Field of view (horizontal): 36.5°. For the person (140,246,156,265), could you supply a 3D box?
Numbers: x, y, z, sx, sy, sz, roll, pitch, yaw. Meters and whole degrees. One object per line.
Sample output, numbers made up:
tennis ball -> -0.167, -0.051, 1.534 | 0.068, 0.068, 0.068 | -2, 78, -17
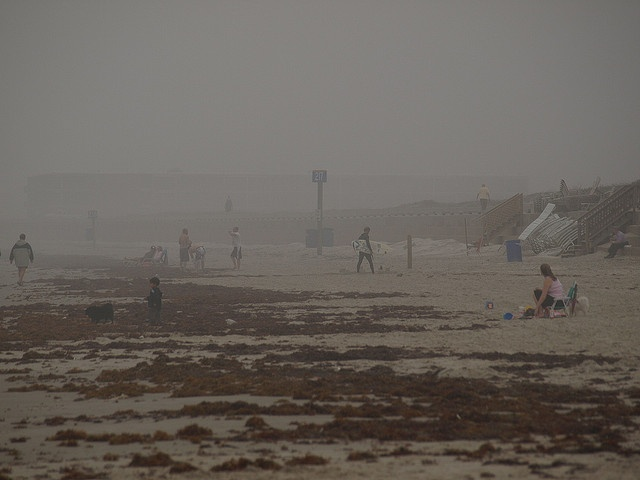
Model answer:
person -> -5.880, 0.609, 33.603 | 0.523, 0.477, 1.444 | -2, 11, -4

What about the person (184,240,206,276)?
person -> -4.021, 0.694, 32.502 | 0.667, 0.404, 1.481 | 4, -26, 0

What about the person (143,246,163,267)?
person -> -5.687, 0.564, 33.707 | 0.716, 0.819, 0.497 | 6, -2, -29

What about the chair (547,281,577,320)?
chair -> 4.251, 1.069, 16.992 | 0.466, 0.623, 0.448 | 3, 2, 28

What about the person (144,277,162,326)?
person -> -2.911, 1.050, 17.286 | 0.234, 0.890, 0.873 | -3, 10, -10

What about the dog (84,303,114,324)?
dog -> -4.019, 1.325, 17.557 | 0.523, 0.411, 0.268 | 2, 1, 15

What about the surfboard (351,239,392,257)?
surfboard -> 1.895, 0.295, 35.455 | 1.216, 0.494, 0.811 | 3, -3, -31

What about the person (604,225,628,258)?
person -> 8.355, 0.087, 27.437 | 0.803, 1.208, 0.612 | -1, 3, 7
